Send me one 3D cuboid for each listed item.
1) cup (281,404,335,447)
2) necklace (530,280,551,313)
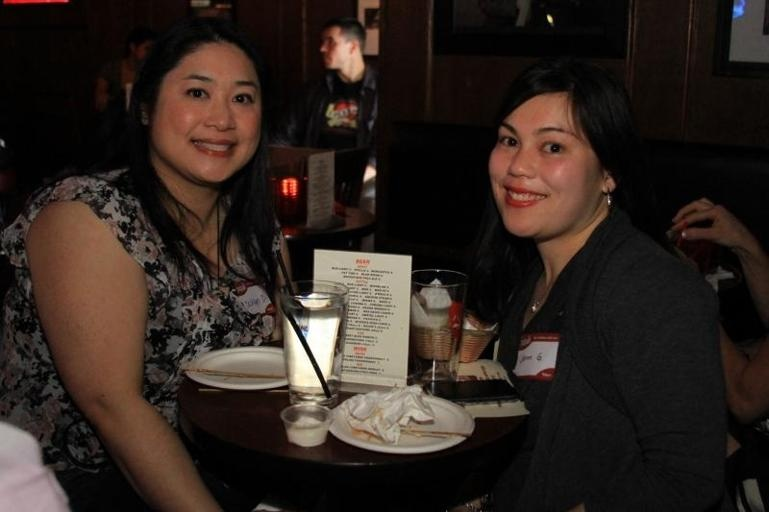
[{"bbox_3d":[-0.204,0.430,1.578,0.102,0.085,0.110,-3,14,1],"label":"cup"},{"bbox_3d":[0.525,0.134,2.086,0.023,0.099,0.074,23,-21,2],"label":"necklace"}]
